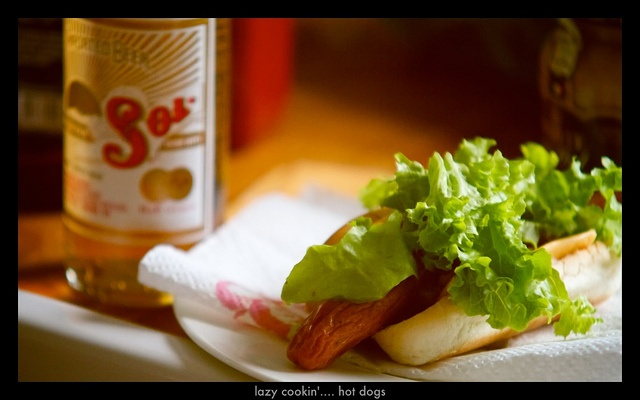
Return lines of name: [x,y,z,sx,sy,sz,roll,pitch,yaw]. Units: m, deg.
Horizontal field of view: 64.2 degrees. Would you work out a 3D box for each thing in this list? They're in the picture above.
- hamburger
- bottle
hamburger: [0.171,0.087,0.585,0.362,0.149,0.254,-20,23,-27]
bottle: [-0.215,-0.045,0.600,0.191,0.351,0.081,9,13,-19]
